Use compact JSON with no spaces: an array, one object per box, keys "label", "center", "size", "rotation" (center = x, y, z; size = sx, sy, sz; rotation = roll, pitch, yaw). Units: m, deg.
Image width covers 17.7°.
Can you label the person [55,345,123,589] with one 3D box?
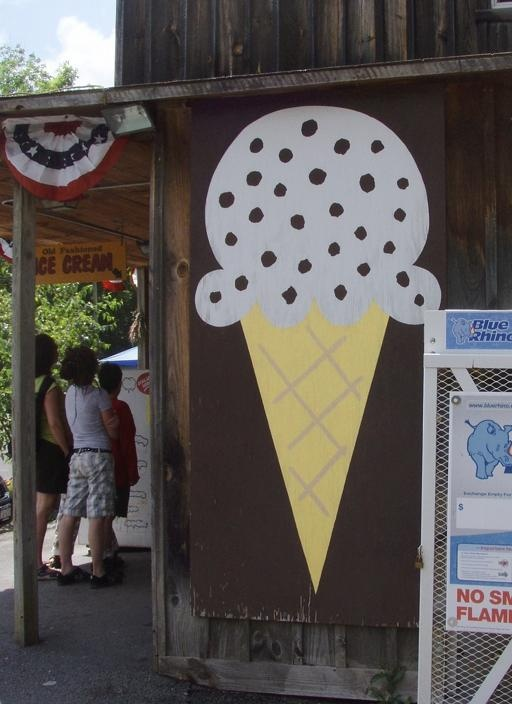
[{"label":"person","center":[-1.063,0.701,10.582],"size":[0.347,1.480,0.472],"rotation":[5,7,-4]}]

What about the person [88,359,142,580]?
[{"label":"person","center":[-1.078,0.667,10.567],"size":[0.318,1.661,0.442],"rotation":[7,18,14]}]

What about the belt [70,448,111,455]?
[{"label":"belt","center":[-1.047,0.627,10.462],"size":[0.237,0.035,0.117],"rotation":[3,-1,-10]}]
